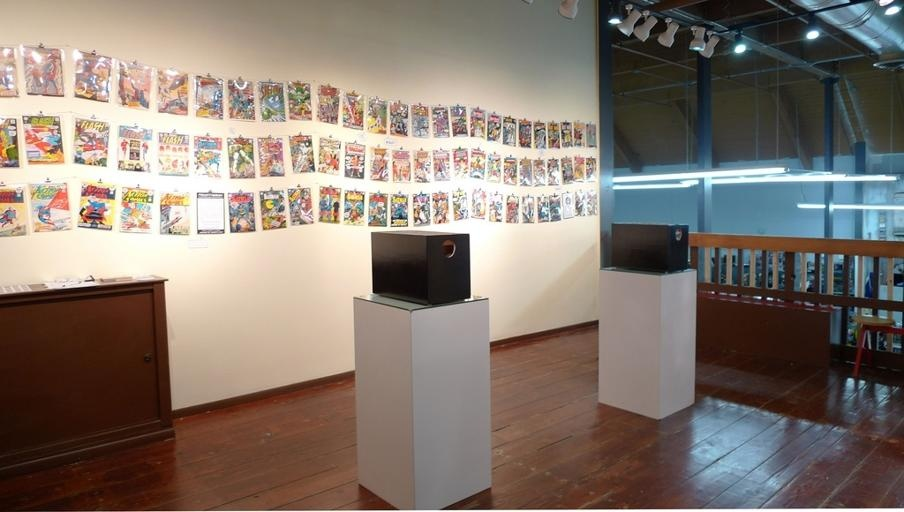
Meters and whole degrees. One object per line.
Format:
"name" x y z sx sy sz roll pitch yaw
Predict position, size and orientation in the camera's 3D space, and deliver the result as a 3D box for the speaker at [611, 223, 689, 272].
"speaker" 2.246 -0.170 6.445 0.989 0.667 0.552 8 12 43
